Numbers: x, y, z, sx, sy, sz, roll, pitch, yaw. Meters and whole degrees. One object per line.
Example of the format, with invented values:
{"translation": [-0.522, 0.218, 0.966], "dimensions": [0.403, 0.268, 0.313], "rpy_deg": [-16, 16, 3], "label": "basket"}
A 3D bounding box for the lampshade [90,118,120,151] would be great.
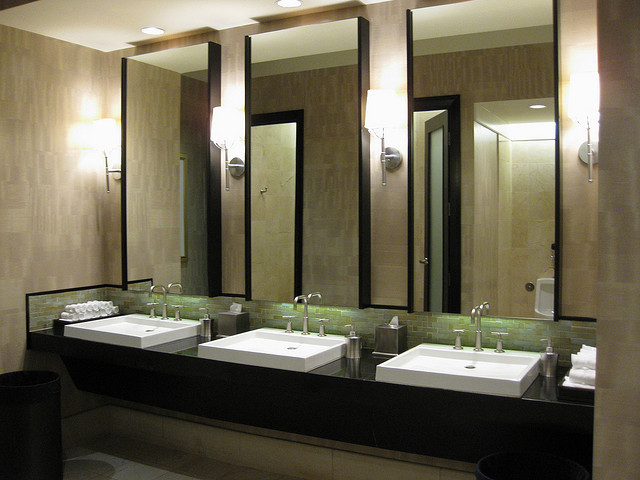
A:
{"translation": [-1.801, -0.871, 4.486], "dimensions": [0.257, 0.280, 0.249], "rpy_deg": [-1, 3, 24], "label": "lampshade"}

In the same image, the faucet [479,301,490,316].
{"translation": [1.005, 0.414, 3.227], "dimensions": [0.062, 0.088, 0.077], "rpy_deg": [4, 5, 44], "label": "faucet"}

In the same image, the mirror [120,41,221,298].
{"translation": [-1.210, -0.540, 4.280], "dimensions": [0.961, 1.952, 0.119], "rpy_deg": [0, 1, 25], "label": "mirror"}

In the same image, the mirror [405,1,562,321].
{"translation": [0.981, -0.498, 3.266], "dimensions": [0.912, 1.952, 0.099], "rpy_deg": [0, 1, 24], "label": "mirror"}

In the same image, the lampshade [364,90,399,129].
{"translation": [0.394, -0.846, 3.448], "dimensions": [0.231, 0.244, 0.230], "rpy_deg": [5, 14, 24], "label": "lampshade"}

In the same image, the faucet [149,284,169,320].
{"translation": [-1.289, 0.483, 4.280], "dimensions": [0.144, 0.285, 0.392], "rpy_deg": [0, 1, -19], "label": "faucet"}

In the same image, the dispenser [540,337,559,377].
{"translation": [1.304, 0.664, 3.030], "dimensions": [0.095, 0.212, 0.080], "rpy_deg": [0, 1, -16], "label": "dispenser"}

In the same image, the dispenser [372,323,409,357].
{"translation": [0.467, 0.663, 3.495], "dimensions": [0.203, 0.188, 0.176], "rpy_deg": [-3, -3, 42], "label": "dispenser"}

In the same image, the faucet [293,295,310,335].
{"translation": [-0.130, 0.518, 3.705], "dimensions": [0.113, 0.268, 0.242], "rpy_deg": [0, 1, -2], "label": "faucet"}

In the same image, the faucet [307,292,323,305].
{"translation": [-0.054, 0.401, 3.671], "dimensions": [0.123, 0.081, 0.099], "rpy_deg": [-1, 1, -32], "label": "faucet"}

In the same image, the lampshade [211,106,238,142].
{"translation": [-0.710, -0.854, 3.964], "dimensions": [0.235, 0.248, 0.232], "rpy_deg": [-3, 6, -34], "label": "lampshade"}
